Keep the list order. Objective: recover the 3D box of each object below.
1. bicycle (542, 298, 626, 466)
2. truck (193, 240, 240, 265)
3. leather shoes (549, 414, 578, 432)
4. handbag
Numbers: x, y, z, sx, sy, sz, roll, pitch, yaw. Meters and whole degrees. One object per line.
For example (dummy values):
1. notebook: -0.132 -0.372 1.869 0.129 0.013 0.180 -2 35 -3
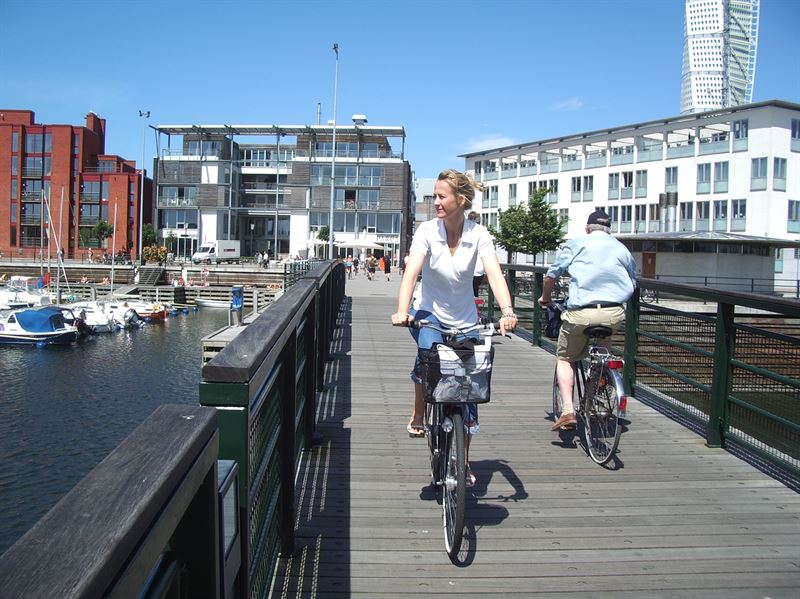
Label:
1. bicycle: 1.572 0.737 6.719 0.541 0.852 1.351 0 5 2
2. truck: -17.296 -4.441 76.850 1.585 2.214 5.834 -3 -1 20
3. leather shoes: 1.349 1.010 6.855 0.102 0.122 0.263 1 -6 -10
4. handbag: 0.360 0.427 5.138 0.409 0.434 0.319 2 -6 0
